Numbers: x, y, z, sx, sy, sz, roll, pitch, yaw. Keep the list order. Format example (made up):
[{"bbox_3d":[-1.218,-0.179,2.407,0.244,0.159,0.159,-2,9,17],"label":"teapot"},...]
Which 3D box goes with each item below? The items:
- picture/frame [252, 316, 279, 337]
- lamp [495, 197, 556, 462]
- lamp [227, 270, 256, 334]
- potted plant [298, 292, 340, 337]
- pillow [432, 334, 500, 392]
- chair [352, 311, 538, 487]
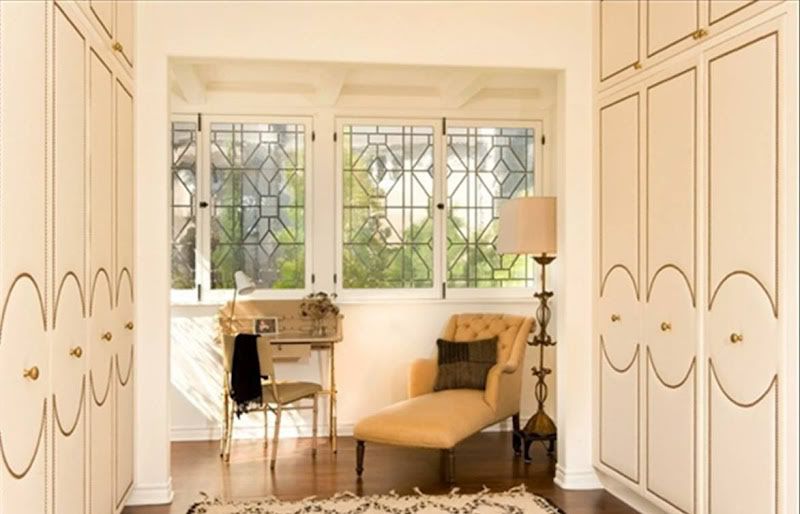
[{"bbox_3d":[-1.250,0.647,6.613,0.170,0.143,0.017,2,-17,-10],"label":"picture/frame"},{"bbox_3d":[1.113,0.593,6.332,0.528,2.246,1.085,1,6,9],"label":"lamp"},{"bbox_3d":[-1.469,0.393,6.605,0.218,0.555,0.617,-2,6,-15],"label":"lamp"},{"bbox_3d":[-0.721,0.537,6.681,0.389,0.390,0.392,1,-3,9],"label":"potted plant"},{"bbox_3d":[0.596,0.955,6.416,0.531,0.499,0.159,8,-12,19],"label":"pillow"},{"bbox_3d":[0.446,1.173,6.269,0.985,1.213,1.664,-4,-1,37],"label":"chair"}]
